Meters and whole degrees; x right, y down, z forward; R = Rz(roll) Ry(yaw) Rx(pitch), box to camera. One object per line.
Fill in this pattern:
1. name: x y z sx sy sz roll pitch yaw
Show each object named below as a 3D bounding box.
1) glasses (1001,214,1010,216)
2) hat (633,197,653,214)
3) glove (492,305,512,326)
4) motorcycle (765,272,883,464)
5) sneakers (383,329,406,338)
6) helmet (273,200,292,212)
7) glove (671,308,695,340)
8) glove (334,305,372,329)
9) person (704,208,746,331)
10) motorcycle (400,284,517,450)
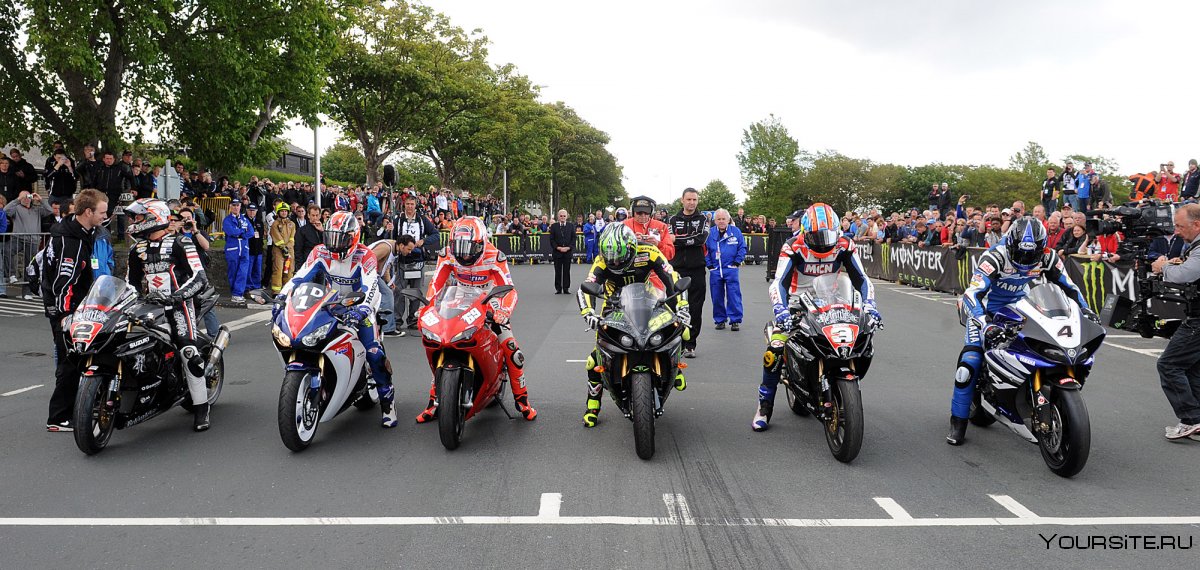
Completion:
1. glasses: 13.181 -2.297 27.630 0.136 0.064 0.206 -6 -7 29
2. hat: 1.018 -1.902 20.387 0.556 0.341 0.705 0 -3 3
3. glove: -2.065 0.612 17.704 0.390 0.234 0.486 3 0 -9
4. motorcycle: 4.631 1.650 17.135 1.102 3.567 1.672 -5 9 -41
5. sneakers: -5.708 1.334 23.604 0.611 0.212 0.203 -1 8 -6
6. helmet: -10.556 -2.603 28.152 0.469 0.316 0.678 -4 5 -38
7. glove: 1.616 0.772 17.190 0.457 0.534 0.281 8 -3 -42
8. glove: -5.064 0.606 17.386 0.628 0.253 0.425 11 8 -4
9. person: 3.590 -0.486 24.576 1.061 3.433 1.099 2 7 6
10. motorcycle: -2.782 1.627 17.467 1.674 3.277 0.910 -4 8 -36
